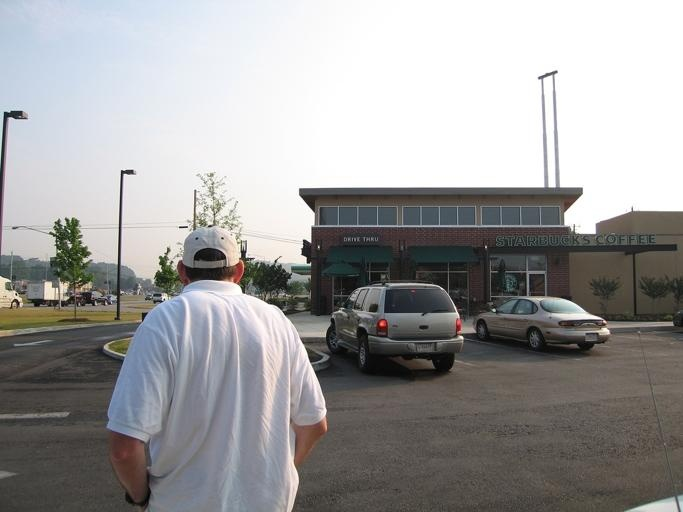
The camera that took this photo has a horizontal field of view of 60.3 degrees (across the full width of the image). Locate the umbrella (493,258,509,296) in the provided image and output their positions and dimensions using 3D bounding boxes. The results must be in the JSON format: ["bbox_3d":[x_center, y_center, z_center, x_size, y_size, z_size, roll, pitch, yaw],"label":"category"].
[{"bbox_3d":[8.065,1.010,29.744,0.639,1.828,1.632,-1,-3,15],"label":"umbrella"}]

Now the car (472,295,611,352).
[{"bbox_3d":[5.397,1.772,16.243,1.098,1.221,3.743,1,-4,-24],"label":"car"}]

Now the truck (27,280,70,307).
[{"bbox_3d":[-27.751,3.633,55.216,2.835,3.000,5.398,-1,1,-10],"label":"truck"}]

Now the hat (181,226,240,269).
[{"bbox_3d":[-1.060,-0.122,4.707,0.450,0.304,0.712,-1,11,-12],"label":"hat"}]

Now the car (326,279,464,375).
[{"bbox_3d":[1.030,1.464,13.115,1.456,1.290,3.023,1,-1,-12],"label":"car"}]
